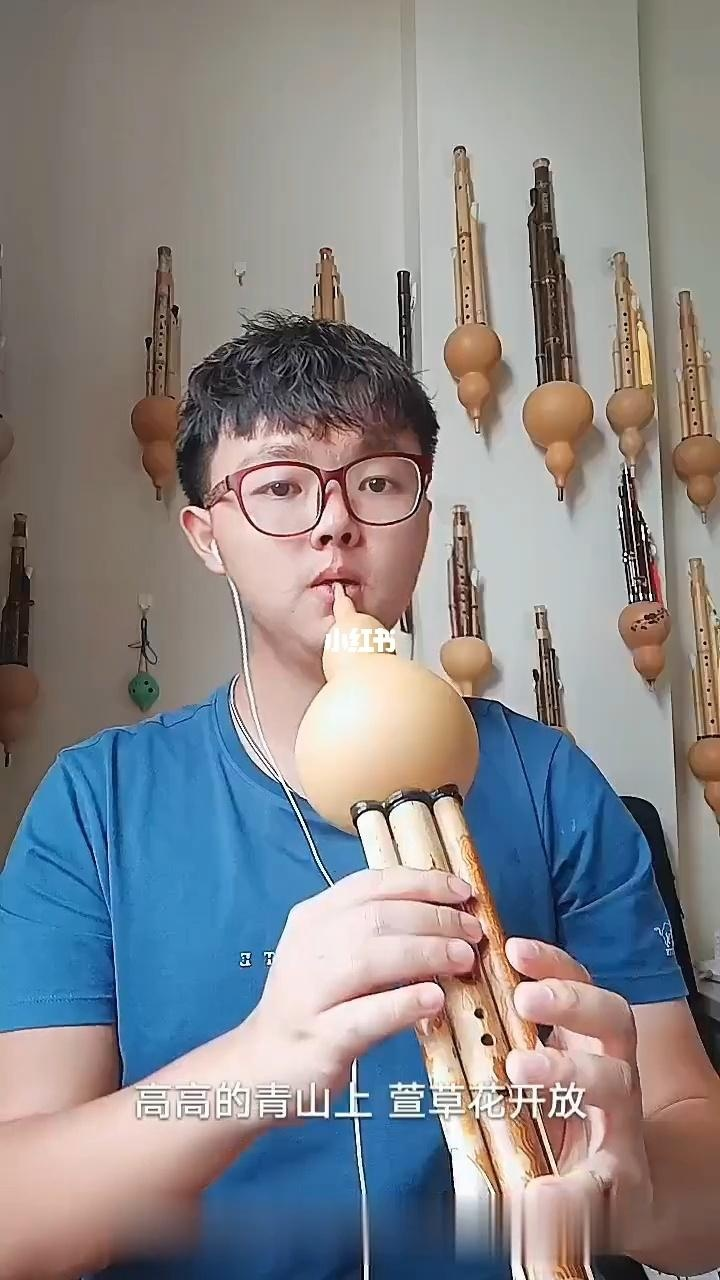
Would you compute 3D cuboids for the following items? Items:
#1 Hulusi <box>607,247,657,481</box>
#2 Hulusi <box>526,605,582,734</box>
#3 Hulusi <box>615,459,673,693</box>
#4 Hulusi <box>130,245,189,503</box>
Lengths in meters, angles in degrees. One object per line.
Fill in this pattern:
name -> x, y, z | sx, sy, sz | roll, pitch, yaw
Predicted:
Hulusi -> 0.230, -0.235, 0.891 | 0.039, 0.201, 0.042 | 2, -11, -17
Hulusi -> 0.149, 0.022, 0.840 | 0.024, 0.108, 0.049 | -4, -3, 4
Hulusi -> 0.232, -0.056, 0.867 | 0.047, 0.183, 0.045 | -6, 2, 15
Hulusi -> -0.156, -0.215, 0.833 | 0.047, 0.196, 0.045 | -1, 6, -25
